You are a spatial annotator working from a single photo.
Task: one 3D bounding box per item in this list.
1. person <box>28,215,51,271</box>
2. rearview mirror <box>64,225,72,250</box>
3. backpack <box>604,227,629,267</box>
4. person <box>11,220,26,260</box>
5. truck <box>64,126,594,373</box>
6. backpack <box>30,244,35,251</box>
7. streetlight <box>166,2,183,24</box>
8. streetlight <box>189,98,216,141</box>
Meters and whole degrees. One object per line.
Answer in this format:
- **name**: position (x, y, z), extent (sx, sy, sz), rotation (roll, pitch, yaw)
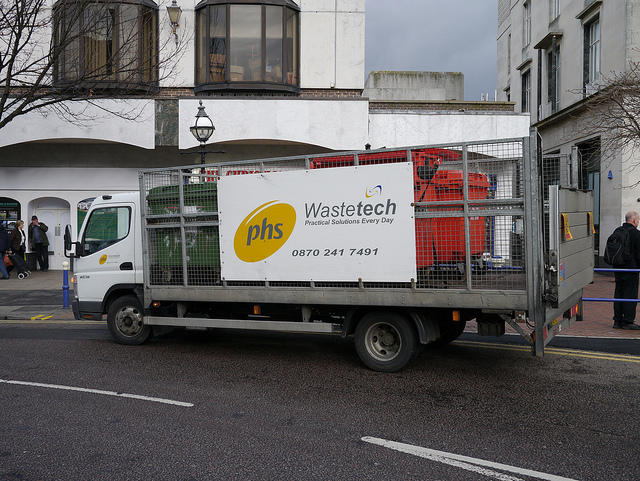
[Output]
- **person**: position (-10.368, 0.070, 23.925), extent (0.702, 2.080, 0.954), rotation (-3, 6, -21)
- **rearview mirror**: position (-4.897, -0.060, 12.555), extent (0.153, 0.431, 0.552), rotation (-3, -14, -23)
- **backpack**: position (5.933, 0.123, 12.940), extent (0.412, 0.738, 0.437), rotation (3, 12, 20)
- **person**: position (-10.664, -0.005, 22.880), extent (0.333, 1.439, 1.642), rotation (-3, 7, -21)
- **truck**: position (-0.407, -0.100, 12.065), extent (8.499, 3.706, 3.359), rotation (0, 22, 15)
- **backpack**: position (-10.760, 0.241, 24.179), extent (0.147, 0.277, 0.369), rotation (-4, 7, -26)
- **streetlight**: position (-5.022, -7.878, 22.428), extent (0.498, 0.929, 0.598), rotation (-2, -1, 3)
- **streetlight**: position (-2.920, -2.963, 15.984), extent (0.674, 1.108, 0.624), rotation (-1, -3, -31)
